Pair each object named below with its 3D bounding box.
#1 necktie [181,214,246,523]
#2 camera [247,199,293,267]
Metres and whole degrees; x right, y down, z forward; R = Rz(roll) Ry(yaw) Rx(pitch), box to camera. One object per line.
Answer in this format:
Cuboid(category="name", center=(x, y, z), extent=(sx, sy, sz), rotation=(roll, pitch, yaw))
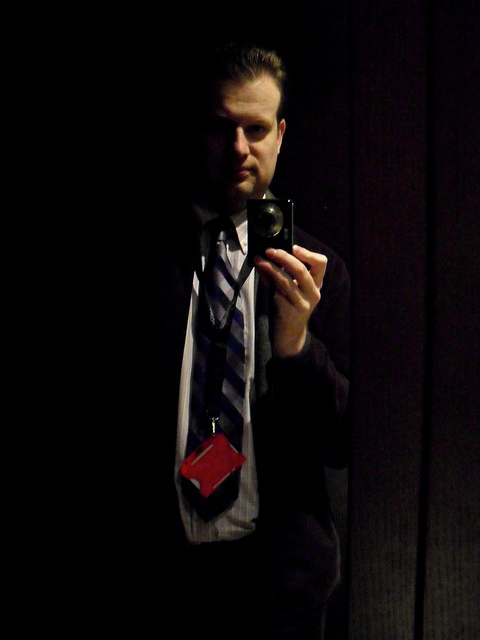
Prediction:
Cuboid(category="necktie", center=(-0.049, 0.114, 1.352), extent=(0.156, 0.589, 0.263), rotation=(-1, 27, -8))
Cuboid(category="camera", center=(0.059, -0.172, 1.230), extent=(0.084, 0.121, 0.045), rotation=(0, 0, -3))
